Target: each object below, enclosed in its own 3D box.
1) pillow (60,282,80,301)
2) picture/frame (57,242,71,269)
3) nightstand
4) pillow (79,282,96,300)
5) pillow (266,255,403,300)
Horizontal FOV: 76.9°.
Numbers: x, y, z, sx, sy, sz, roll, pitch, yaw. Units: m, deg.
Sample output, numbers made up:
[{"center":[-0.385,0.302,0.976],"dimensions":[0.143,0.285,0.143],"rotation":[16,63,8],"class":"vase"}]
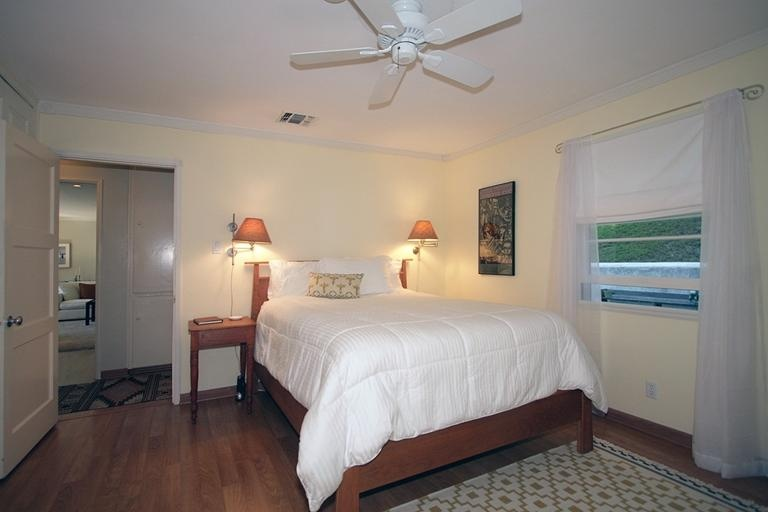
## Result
[{"center":[-5.894,0.661,9.095],"dimensions":[0.102,0.366,0.343],"rotation":[-23,-19,24],"class":"pillow"},{"center":[-6.549,-0.017,9.963],"dimensions":[0.199,0.528,0.221],"rotation":[-7,15,-24],"class":"picture/frame"},{"center":[-1.723,1.138,5.175],"dimensions":[0.732,1.033,0.706],"rotation":[0,0,-22],"class":"nightstand"},{"center":[-5.575,0.661,9.080],"dimensions":[0.341,0.361,0.350],"rotation":[-1,-3,-26],"class":"pillow"},{"center":[-0.635,0.229,5.510],"dimensions":[1.366,0.475,0.664],"rotation":[6,1,-27],"class":"pillow"}]
